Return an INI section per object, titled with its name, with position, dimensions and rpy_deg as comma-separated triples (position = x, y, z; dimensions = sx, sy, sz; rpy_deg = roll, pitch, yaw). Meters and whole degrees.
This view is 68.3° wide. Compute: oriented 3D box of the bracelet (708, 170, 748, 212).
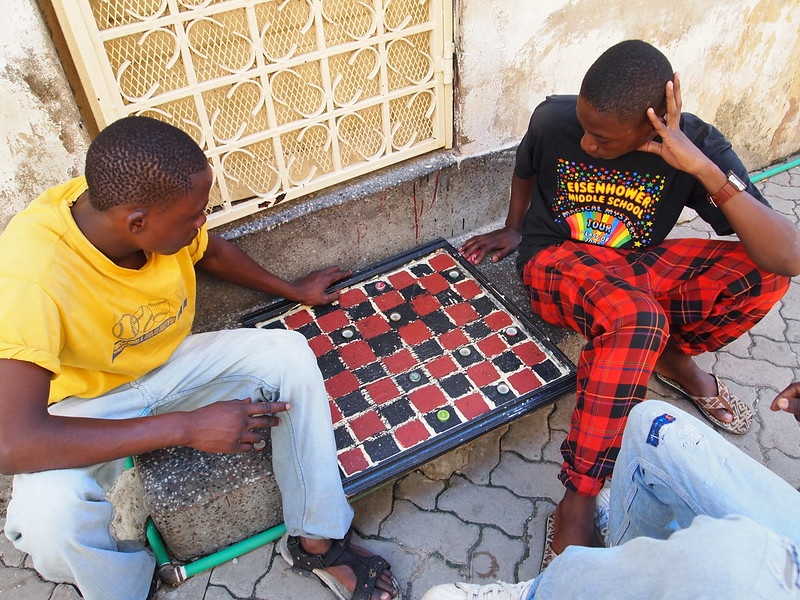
[bracelet]
position = 1.422, -0.472, 2.622
dimensions = 0.156, 0.151, 0.127
rpy_deg = -36, 85, 8

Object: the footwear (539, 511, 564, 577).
[footwear]
position = 0.658, 1.095, 2.642
dimensions = 0.084, 0.292, 0.101
rpy_deg = 8, 25, 4

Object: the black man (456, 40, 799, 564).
[black man]
position = 0.959, -0.156, 2.829
dimensions = 1.398, 1.604, 2.316
rpy_deg = -4, 61, 24
